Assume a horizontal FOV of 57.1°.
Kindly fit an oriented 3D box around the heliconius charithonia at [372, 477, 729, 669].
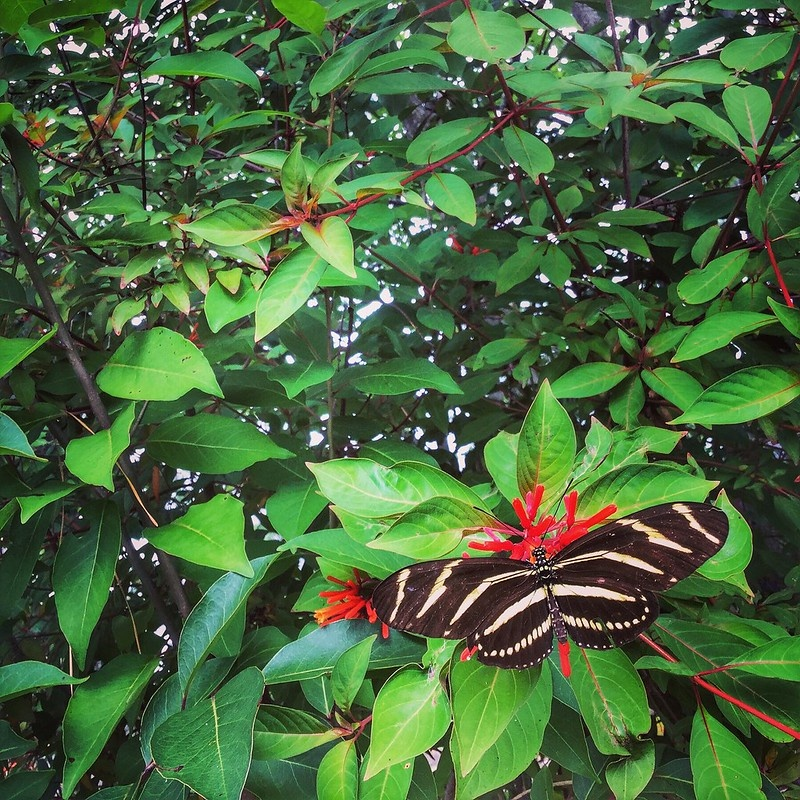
[{"bbox_3d":[0.193,0.254,0.928,0.485,0.044,0.156,-20,53,20],"label":"heliconius charithonia"}]
